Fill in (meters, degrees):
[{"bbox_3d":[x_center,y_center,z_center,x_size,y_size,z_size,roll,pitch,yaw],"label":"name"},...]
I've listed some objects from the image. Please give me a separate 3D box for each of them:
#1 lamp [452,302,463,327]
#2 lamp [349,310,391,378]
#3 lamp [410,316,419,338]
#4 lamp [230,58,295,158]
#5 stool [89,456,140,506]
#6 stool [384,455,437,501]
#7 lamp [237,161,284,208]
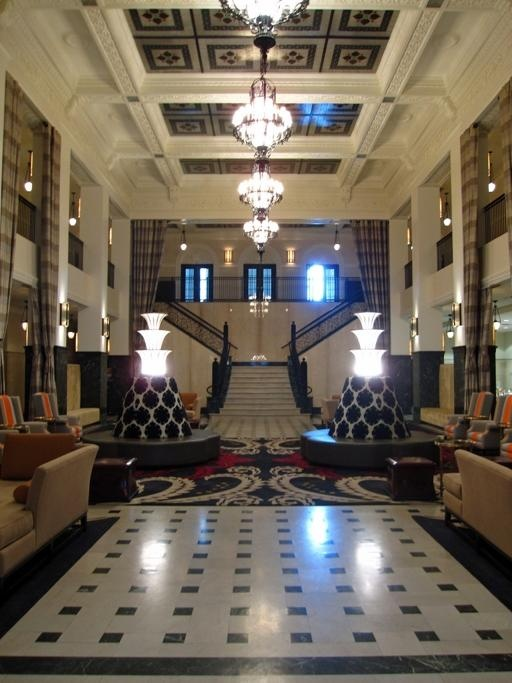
[{"bbox_3d":[3.868,-0.513,8.615,0.142,0.465,0.461,1,-3,8],"label":"lamp"},{"bbox_3d":[1.879,0.027,7.541,0.510,1.193,0.900,-2,-7,15],"label":"lamp"},{"bbox_3d":[4.013,-0.377,11.380,0.170,0.560,0.557,0,-1,5],"label":"lamp"},{"bbox_3d":[0.119,-3.194,5.959,0.749,1.204,0.923,3,-8,-23],"label":"lamp"},{"bbox_3d":[-1.550,1.459,4.919,0.493,0.345,0.393,1,1,6],"label":"stool"},{"bbox_3d":[1.683,1.374,4.851,0.346,0.359,0.570,1,-5,1],"label":"stool"},{"bbox_3d":[0.080,-2.439,7.207,0.640,1.056,0.669,0,7,-3],"label":"lamp"}]
